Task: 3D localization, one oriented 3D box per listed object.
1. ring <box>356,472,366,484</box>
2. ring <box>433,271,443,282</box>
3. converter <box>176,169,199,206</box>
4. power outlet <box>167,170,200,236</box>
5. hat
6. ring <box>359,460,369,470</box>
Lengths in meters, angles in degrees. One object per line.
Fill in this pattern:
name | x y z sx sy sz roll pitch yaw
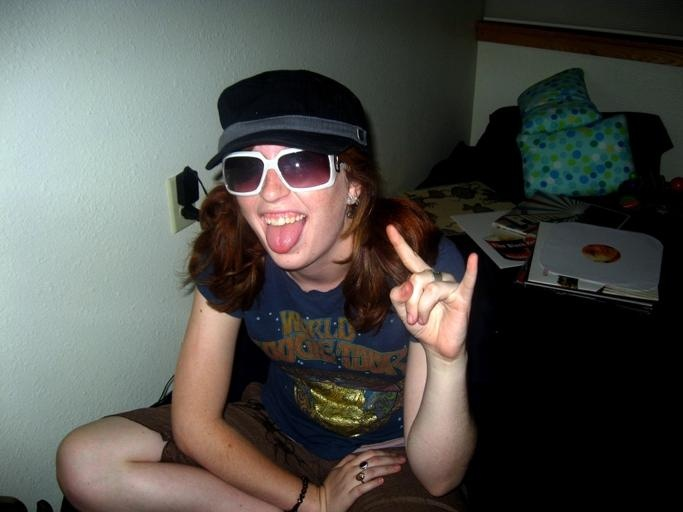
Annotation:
ring | 0.053 0.601 1.600 0.024 0.024 0.015 3 14 6
ring | 0.225 0.049 1.388 0.016 0.025 0.025 4 0 10
converter | -0.500 -0.238 1.899 0.083 0.149 0.047 -6 4 -18
power outlet | -0.489 -0.184 1.886 0.102 0.193 0.086 -7 6 -18
hat | -0.118 -0.314 1.506 0.242 0.184 0.328 4 3 34
ring | 0.061 0.571 1.612 0.017 0.008 0.024 -3 8 11
